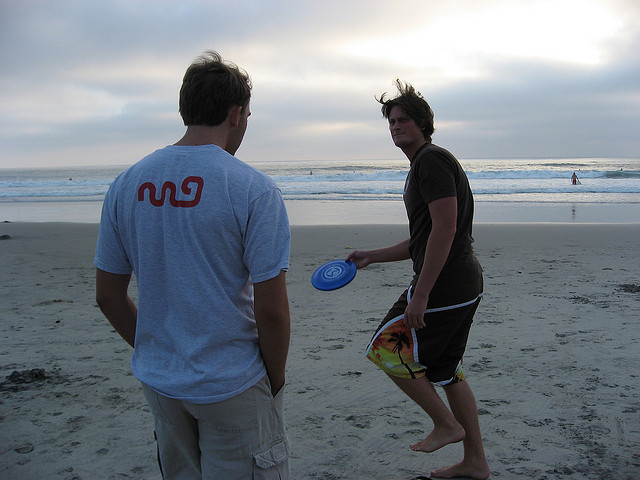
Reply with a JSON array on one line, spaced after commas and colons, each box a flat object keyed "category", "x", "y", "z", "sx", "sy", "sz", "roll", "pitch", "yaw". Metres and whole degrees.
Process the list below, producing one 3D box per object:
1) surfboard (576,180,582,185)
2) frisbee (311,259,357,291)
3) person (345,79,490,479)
[{"category": "surfboard", "x": 14.754, "y": -3.268, "z": 32.194, "sx": 0.260, "sy": 0.183, "sz": 0.435, "roll": 1, "pitch": -15, "yaw": 32}, {"category": "frisbee", "x": 0.109, "y": 0.252, "z": 4.227, "sx": 0.376, "sy": 0.066, "sz": 0.330, "roll": -10, "pitch": 37, "yaw": 22}, {"category": "person", "x": 0.752, "y": 0.301, "z": 4.077, "sx": 0.811, "sy": 2.856, "sz": 0.632, "roll": -3, "pitch": 9, "yaw": 15}]
